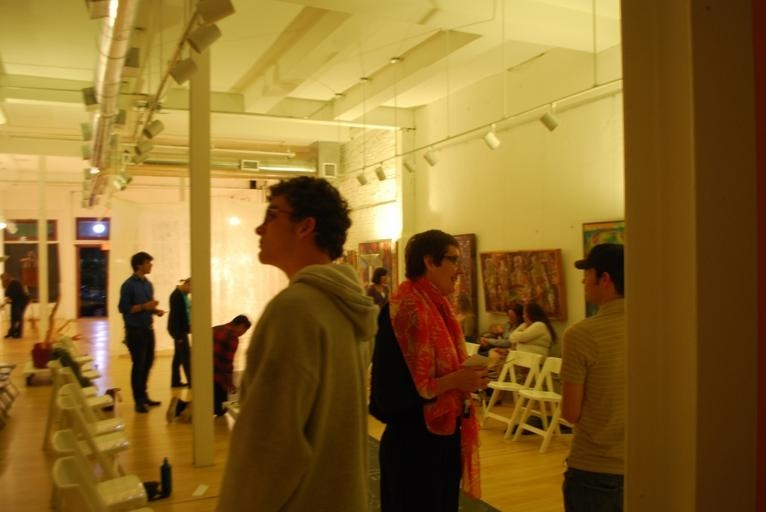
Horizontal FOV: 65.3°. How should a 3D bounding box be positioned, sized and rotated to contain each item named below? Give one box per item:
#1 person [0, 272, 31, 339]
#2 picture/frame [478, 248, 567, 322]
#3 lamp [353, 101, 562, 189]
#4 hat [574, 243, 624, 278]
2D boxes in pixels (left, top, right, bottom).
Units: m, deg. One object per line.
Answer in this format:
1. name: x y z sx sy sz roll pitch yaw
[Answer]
1. person: -8.461 1.155 13.729 0.545 1.514 1.132 -1 0 -31
2. picture/frame: 1.815 0.357 7.941 0.151 0.876 1.520 -6 2 -28
3. lamp: 0.879 -1.556 8.613 1.117 0.900 5.194 -1 0 -22
4. hat: 0.925 0.017 2.559 0.175 0.093 0.126 7 5 34
